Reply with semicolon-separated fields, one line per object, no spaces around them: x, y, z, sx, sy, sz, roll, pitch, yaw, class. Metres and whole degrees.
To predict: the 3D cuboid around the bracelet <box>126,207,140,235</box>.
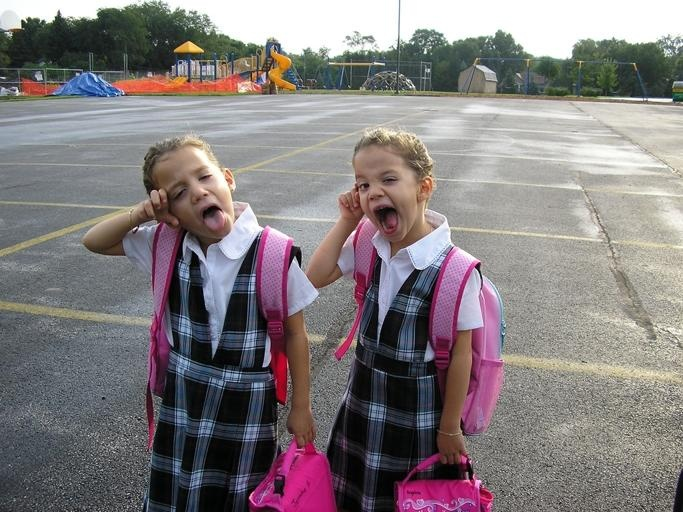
-0.917;-0.164;2.433;0.038;0.126;0.087;6;-3;-8;bracelet

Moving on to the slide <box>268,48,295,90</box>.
-6.273;-19.172;56.895;2.379;3.824;5.603;-1;17;-6;slide

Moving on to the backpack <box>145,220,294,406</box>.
-0.546;0.281;2.504;0.618;0.926;0.322;1;20;-12;backpack
